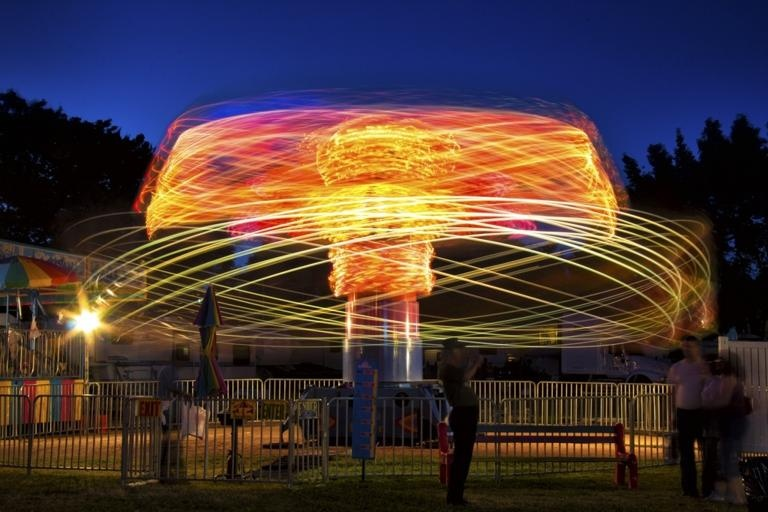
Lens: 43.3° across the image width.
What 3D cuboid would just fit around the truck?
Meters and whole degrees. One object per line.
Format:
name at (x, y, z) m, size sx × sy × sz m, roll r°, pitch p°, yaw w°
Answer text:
truck at (9.572, 5.533, 52.565) m, size 10.630 × 2.669 × 2.464 m, roll 3°, pitch 10°, yaw -13°
